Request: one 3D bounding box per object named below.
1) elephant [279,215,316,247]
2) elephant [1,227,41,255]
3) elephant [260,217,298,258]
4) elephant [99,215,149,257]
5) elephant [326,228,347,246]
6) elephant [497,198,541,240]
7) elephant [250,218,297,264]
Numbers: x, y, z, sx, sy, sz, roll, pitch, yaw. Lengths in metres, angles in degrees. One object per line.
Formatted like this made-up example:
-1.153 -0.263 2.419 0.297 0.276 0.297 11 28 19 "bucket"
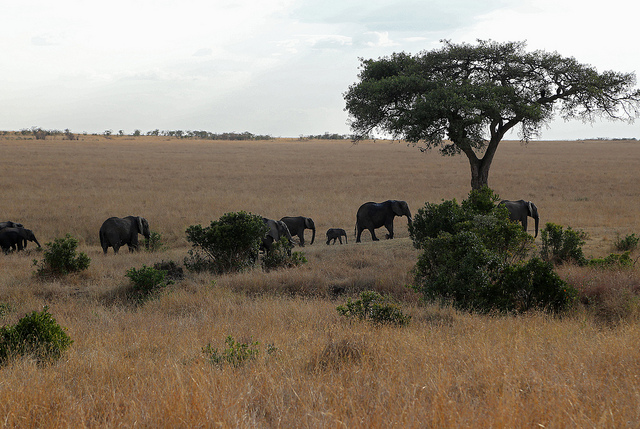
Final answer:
-1.069 0.844 31.693 2.215 1.455 0.775 -2 1 -41 "elephant"
-12.833 1.053 28.603 1.226 0.983 0.901 -3 7 -28 "elephant"
-1.557 0.916 28.952 1.011 1.377 2.224 -5 8 16 "elephant"
-8.210 1.000 29.219 1.221 1.779 2.741 0 2 40 "elephant"
0.750 1.063 31.613 0.980 0.674 0.956 -1 6 -9 "elephant"
9.203 0.303 31.167 2.227 1.814 1.025 0 -2 -15 "elephant"
-2.132 1.153 28.685 2.414 1.679 1.300 -7 10 1 "elephant"
